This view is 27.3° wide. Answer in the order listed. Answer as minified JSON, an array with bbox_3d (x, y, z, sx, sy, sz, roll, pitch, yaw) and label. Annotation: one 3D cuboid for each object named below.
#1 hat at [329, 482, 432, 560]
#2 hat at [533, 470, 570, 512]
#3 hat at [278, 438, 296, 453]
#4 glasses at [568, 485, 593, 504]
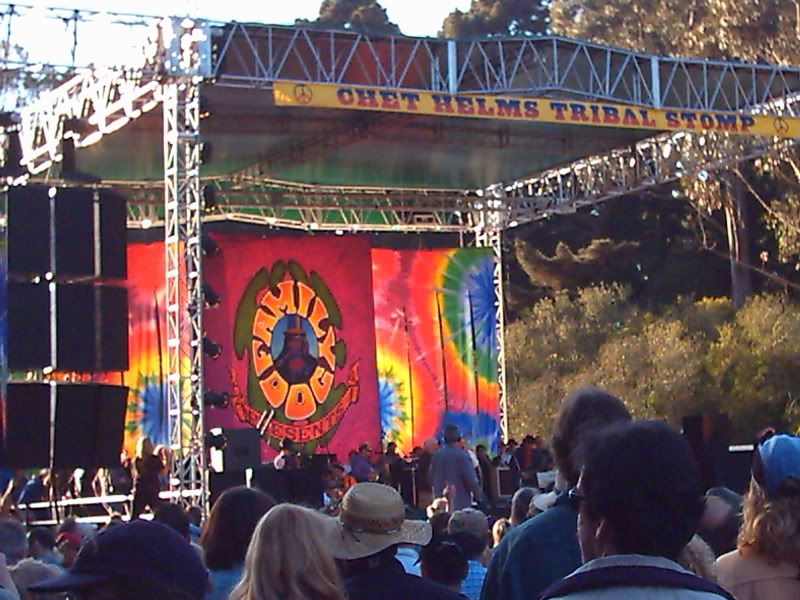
[{"bbox_3d":[-0.240,2.230,16.501,0.774,0.373,0.756,-7,15,-21],"label":"hat"},{"bbox_3d":[1.554,1.971,16.979,0.459,0.281,0.335,-39,-31,28],"label":"hat"},{"bbox_3d":[-2.103,2.691,30.685,0.236,0.452,0.394,-6,-9,8],"label":"hat"},{"bbox_3d":[1.675,1.798,15.297,0.157,0.222,0.231,1,-14,-5],"label":"glasses"}]
